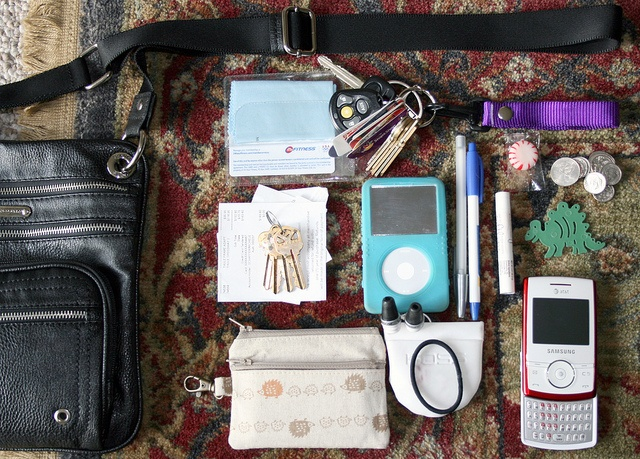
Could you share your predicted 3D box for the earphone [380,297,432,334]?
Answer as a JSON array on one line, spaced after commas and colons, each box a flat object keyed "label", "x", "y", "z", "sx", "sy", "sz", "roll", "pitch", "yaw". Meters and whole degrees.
[{"label": "earphone", "x": 0.205, "y": 0.227, "z": 1.756, "sx": 0.161, "sy": 0.100, "sz": 0.079, "roll": 1, "pitch": 32, "yaw": 7}]

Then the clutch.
[{"label": "clutch", "x": -0.030, "y": 0.405, "z": 1.808, "sx": 0.425, "sy": 0.229, "sz": 0.268, "roll": 2, "pitch": 44, "yaw": -2}]
